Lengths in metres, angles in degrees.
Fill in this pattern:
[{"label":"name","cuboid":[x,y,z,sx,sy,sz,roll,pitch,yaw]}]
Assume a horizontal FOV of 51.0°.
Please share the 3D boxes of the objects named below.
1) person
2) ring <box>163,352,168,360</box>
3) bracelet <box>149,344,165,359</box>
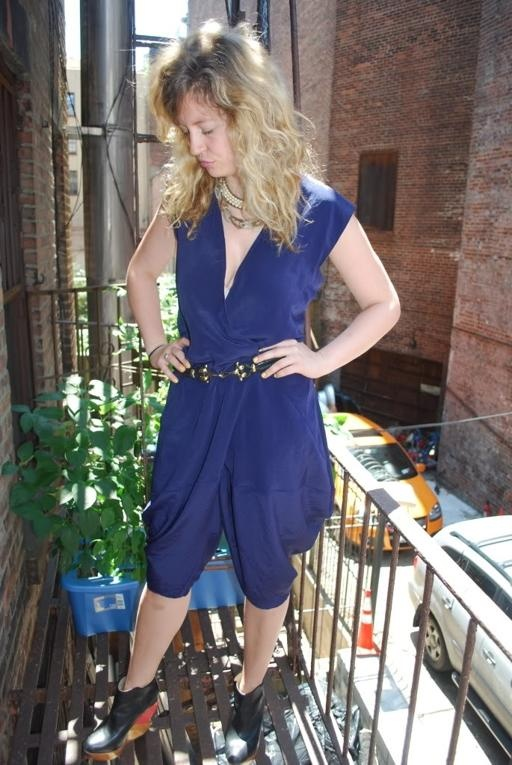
[{"label":"person","cuboid":[-0.022,0.099,1.081,0.569,1.567,0.358,4,14,5]},{"label":"ring","cuboid":[-0.176,-0.051,1.045,0.005,0.009,0.008,-3,7,6]},{"label":"bracelet","cuboid":[-0.206,-0.063,1.108,0.035,0.009,0.026,-35,-15,37]}]
